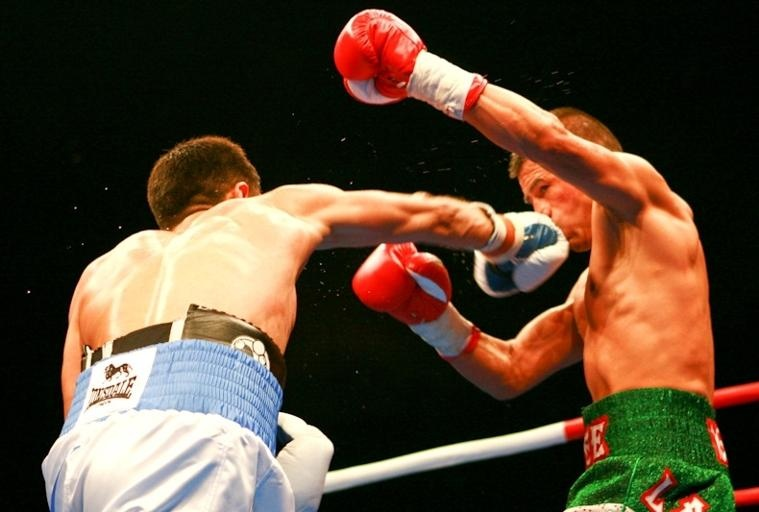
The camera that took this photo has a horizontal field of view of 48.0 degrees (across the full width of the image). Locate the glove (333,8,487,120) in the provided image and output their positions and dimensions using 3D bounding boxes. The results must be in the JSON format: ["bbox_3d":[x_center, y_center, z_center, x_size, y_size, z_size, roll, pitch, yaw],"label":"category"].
[{"bbox_3d":[0.147,-0.944,4.022,0.687,0.470,0.301,26,54,-19],"label":"glove"}]

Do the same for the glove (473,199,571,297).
[{"bbox_3d":[0.676,-0.040,4.227,0.364,0.209,0.473,-40,42,-19],"label":"glove"}]

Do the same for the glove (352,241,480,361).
[{"bbox_3d":[0.152,0.295,4.845,0.498,1.021,0.440,-8,62,14],"label":"glove"}]
